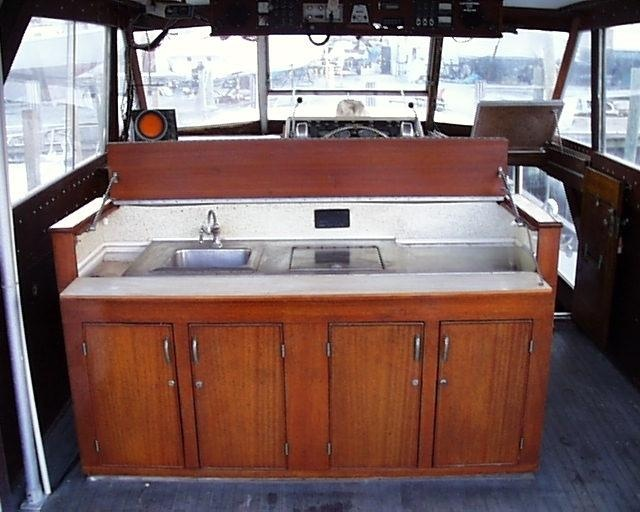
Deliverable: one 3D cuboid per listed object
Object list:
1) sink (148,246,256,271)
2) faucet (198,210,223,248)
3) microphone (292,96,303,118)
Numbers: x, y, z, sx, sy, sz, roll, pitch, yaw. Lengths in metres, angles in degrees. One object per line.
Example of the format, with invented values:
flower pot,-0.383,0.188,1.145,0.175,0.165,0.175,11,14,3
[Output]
sink,-0.630,0.061,3.083,0.531,0.114,0.344,-1,22,1
faucet,-0.652,-0.161,3.220,0.158,0.150,0.086,-6,9,-17
microphone,-0.280,-1.619,5.921,0.120,0.189,0.155,12,26,31
